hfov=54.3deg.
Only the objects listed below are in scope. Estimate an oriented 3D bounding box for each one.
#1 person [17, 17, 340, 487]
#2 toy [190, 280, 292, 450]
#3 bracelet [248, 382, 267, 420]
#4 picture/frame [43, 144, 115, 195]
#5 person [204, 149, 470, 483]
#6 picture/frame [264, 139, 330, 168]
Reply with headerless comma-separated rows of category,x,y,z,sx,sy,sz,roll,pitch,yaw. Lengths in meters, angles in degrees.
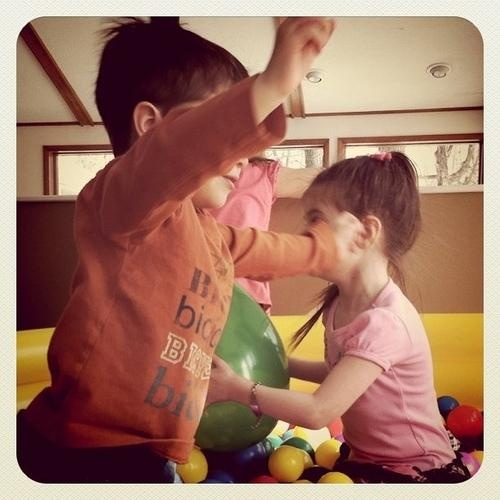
person,-0.046,-0.021,1.651,1.014,1.496,0.668,-3,5,-12
toy,-0.003,0.255,1.194,0.254,0.331,0.179,-23,-6,24
bracelet,0.024,0.329,1.066,0.017,0.060,0.043,-10,-1,12
picture/frame,-0.397,-0.186,1.152,0.133,0.125,0.012,-3,-7,15
person,0.220,0.187,1.250,0.602,0.847,0.466,-4,2,-1
picture/frame,0.124,-0.218,1.176,0.132,0.076,0.031,1,-2,-2
